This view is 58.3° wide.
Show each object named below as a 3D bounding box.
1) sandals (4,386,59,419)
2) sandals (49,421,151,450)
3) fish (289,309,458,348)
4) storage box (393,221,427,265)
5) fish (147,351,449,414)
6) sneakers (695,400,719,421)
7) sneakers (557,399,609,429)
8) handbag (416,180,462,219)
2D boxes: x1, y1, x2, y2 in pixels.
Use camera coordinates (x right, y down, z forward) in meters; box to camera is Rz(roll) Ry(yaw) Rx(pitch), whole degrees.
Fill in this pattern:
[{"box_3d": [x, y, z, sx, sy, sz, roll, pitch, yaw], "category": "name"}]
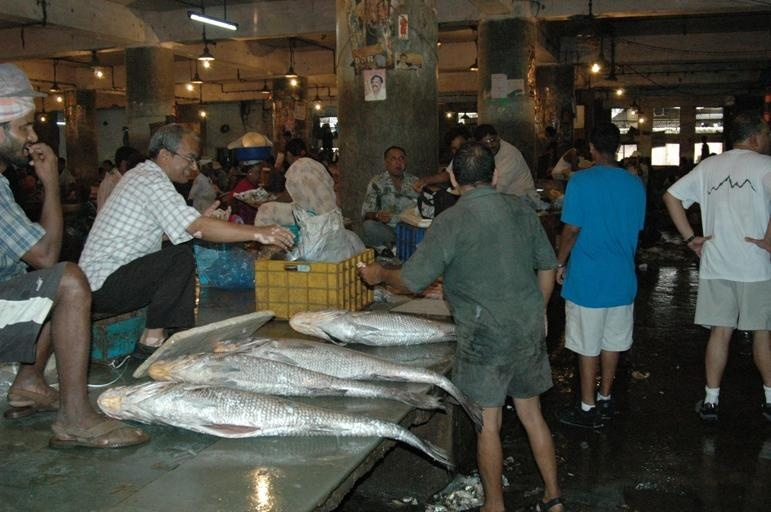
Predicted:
[{"box_3d": [-2.410, 0.972, 4.738, 0.158, 0.162, 0.433, 5, 7, 43], "category": "sandals"}, {"box_3d": [-1.830, 1.129, 4.354, 0.486, 0.125, 0.233, 0, 13, -4], "category": "sandals"}, {"box_3d": [-0.111, 0.588, 5.528, 0.826, 0.180, 0.293, 5, -6, -6], "category": "fish"}, {"box_3d": [0.374, -0.129, 7.733, 0.307, 0.377, 0.532, 0, 1, -32], "category": "storage box"}, {"box_3d": [-0.650, 0.869, 4.707, 2.074, 0.355, 0.339, 3, 6, 2], "category": "fish"}, {"box_3d": [2.890, 1.372, 6.149, 0.100, 0.103, 0.272, 0, 10, 13], "category": "sneakers"}, {"box_3d": [1.741, 1.375, 6.143, 0.460, 0.194, 0.195, 2, 9, 32], "category": "sneakers"}, {"box_3d": [0.625, -0.606, 7.709, 0.472, 0.492, 0.361, 2, -7, 37], "category": "handbag"}]
